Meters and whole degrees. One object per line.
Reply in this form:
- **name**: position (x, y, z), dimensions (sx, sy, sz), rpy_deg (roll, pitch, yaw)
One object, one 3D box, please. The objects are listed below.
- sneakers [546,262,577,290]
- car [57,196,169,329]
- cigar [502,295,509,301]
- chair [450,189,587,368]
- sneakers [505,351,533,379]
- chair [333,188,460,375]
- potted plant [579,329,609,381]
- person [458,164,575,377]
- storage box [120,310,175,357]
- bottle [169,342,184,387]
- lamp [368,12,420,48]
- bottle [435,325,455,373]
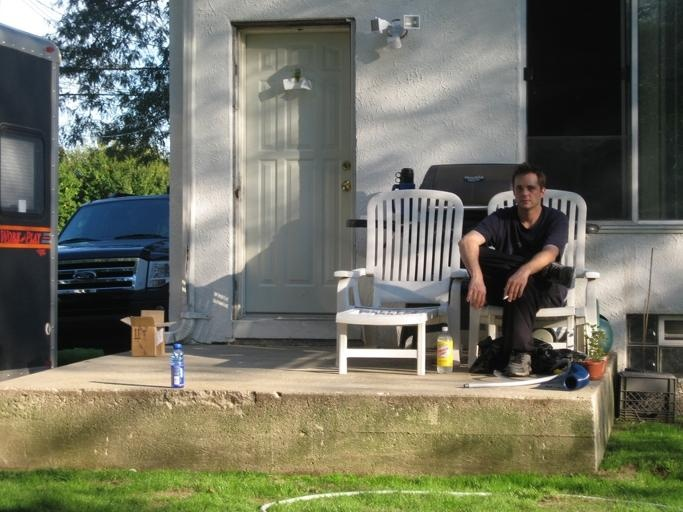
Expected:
- **sneakers**: position (1.644, 0.147, 7.892), dimensions (0.213, 0.141, 0.105), rpy_deg (18, 14, 39)
- **car**: position (-2.383, -0.037, 11.130), dimensions (1.187, 1.416, 1.549), rpy_deg (0, -3, -16)
- **cigar**: position (1.244, 0.311, 7.928), dimensions (0.040, 0.041, 0.037), rpy_deg (-1, -3, 8)
- **chair**: position (1.624, 0.176, 8.225), dimensions (0.800, 1.319, 0.901), rpy_deg (5, 7, 14)
- **sneakers**: position (1.325, 0.814, 7.848), dimensions (0.199, 0.186, 0.121), rpy_deg (-1, -2, 5)
- **chair**: position (0.477, 0.192, 8.504), dimensions (1.029, 1.476, 1.164), rpy_deg (-1, -2, 6)
- **potted plant**: position (1.901, 0.740, 7.915), dimensions (0.176, 0.393, 0.173), rpy_deg (1, 4, 33)
- **person**: position (1.358, 0.086, 8.125), dimensions (0.872, 1.648, 0.604), rpy_deg (0, -2, -2)
- **storage box**: position (-1.665, 0.680, 9.062), dimensions (0.385, 0.395, 0.370), rpy_deg (-1, -7, 5)
- **bottle**: position (-1.185, 0.798, 7.623), dimensions (0.097, 0.313, 0.208), rpy_deg (0, -3, -10)
- **lamp**: position (0.502, -2.147, 9.875), dimensions (0.468, 0.305, 0.224), rpy_deg (-1, -2, 2)
- **bottle**: position (0.812, 0.719, 8.064), dimensions (0.161, 0.350, 0.096), rpy_deg (1, -3, -30)
